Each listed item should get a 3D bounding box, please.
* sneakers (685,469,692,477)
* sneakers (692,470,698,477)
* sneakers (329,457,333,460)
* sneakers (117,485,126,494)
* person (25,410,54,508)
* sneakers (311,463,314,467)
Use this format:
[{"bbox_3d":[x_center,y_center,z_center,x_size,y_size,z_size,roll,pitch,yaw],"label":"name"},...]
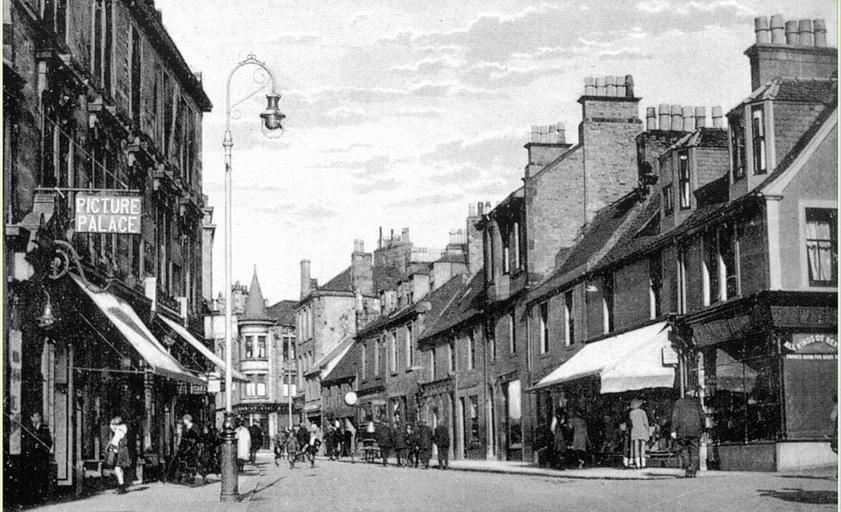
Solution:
[{"bbox_3d":[8.261,6.656,49.438,0.281,0.281,0.156,-8,-14,40],"label":"sneakers"},{"bbox_3d":[8.483,6.683,49.472,0.170,0.118,0.171,2,-4,-39],"label":"sneakers"},{"bbox_3d":[-4.525,10.104,80.729,0.183,0.183,0.170,1,0,-8],"label":"sneakers"},{"bbox_3d":[-9.356,7.215,49.935,0.260,0.271,0.252,4,-11,-24],"label":"sneakers"},{"bbox_3d":[-11.245,5.940,47.403,0.592,2.542,1.096,-5,-11,17],"label":"person"},{"bbox_3d":[-4.611,8.801,68.091,0.145,0.268,0.143,1,7,0],"label":"sneakers"}]
